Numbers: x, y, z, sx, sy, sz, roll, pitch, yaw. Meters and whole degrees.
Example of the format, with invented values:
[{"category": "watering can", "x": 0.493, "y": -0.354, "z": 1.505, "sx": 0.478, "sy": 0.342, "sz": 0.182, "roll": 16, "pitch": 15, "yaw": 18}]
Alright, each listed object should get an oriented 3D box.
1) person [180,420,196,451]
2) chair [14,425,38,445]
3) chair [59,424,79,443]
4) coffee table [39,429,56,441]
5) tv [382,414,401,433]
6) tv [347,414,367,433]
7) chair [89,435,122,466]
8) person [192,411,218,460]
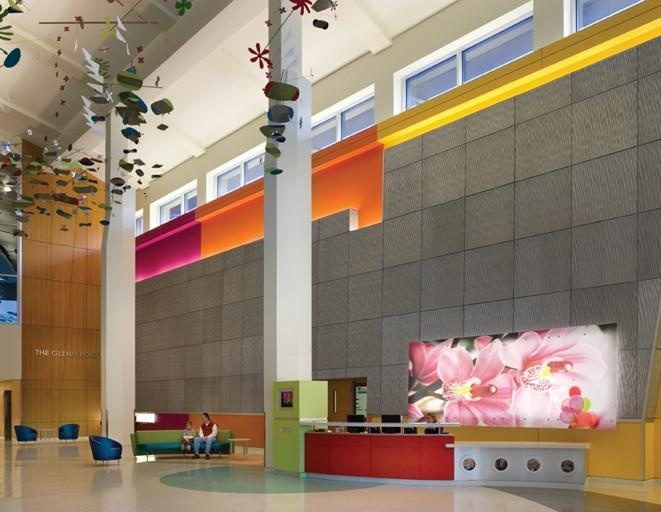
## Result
[{"category": "person", "x": -4.367, "y": 5.570, "z": 18.004, "sx": 0.418, "sy": 0.871, "sz": 1.419, "roll": 2, "pitch": -17, "yaw": -12}, {"category": "chair", "x": -12.635, "y": 7.473, "z": 24.623, "sx": 0.820, "sy": 0.862, "sz": 0.943, "roll": -5, "pitch": -13, "yaw": 14}, {"category": "chair", "x": -11.519, "y": 7.760, "z": 25.772, "sx": 0.752, "sy": 0.725, "sz": 1.262, "roll": 4, "pitch": -18, "yaw": -19}, {"category": "coffee table", "x": -12.773, "y": 8.074, "z": 26.508, "sx": 0.589, "sy": 0.424, "sz": 0.634, "roll": -1, "pitch": -21, "yaw": -8}, {"category": "tv", "x": 1.307, "y": 3.623, "z": 12.666, "sx": 0.412, "sy": 0.430, "sz": 0.970, "roll": -3, "pitch": -17, "yaw": 4}, {"category": "tv", "x": 0.550, "y": 3.740, "z": 13.117, "sx": 0.444, "sy": 0.351, "sz": 0.439, "roll": 8, "pitch": -10, "yaw": -30}, {"category": "chair", "x": -6.086, "y": 5.234, "z": 15.929, "sx": 0.838, "sy": 0.903, "sz": 0.995, "roll": -3, "pitch": -10, "yaw": 6}, {"category": "person", "x": -3.789, "y": 5.415, "z": 17.665, "sx": 0.688, "sy": 1.334, "sz": 0.837, "roll": 1, "pitch": -20, "yaw": -11}]
